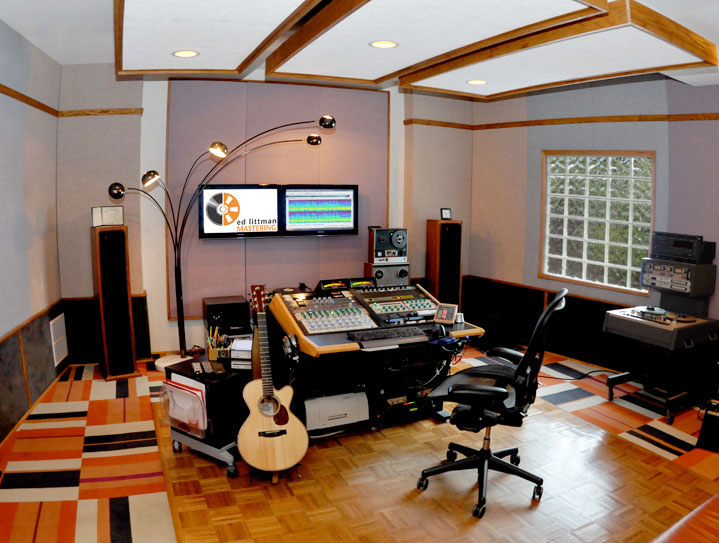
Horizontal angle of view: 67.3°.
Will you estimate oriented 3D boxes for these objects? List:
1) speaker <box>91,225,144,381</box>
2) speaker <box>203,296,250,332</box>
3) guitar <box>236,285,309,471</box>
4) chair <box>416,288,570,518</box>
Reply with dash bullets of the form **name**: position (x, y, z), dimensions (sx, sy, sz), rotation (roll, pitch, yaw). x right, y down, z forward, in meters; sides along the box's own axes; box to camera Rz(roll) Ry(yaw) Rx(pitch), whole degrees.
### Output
- **speaker**: position (-2.689, 0.333, 5.900), dimensions (0.416, 1.642, 0.337), rotation (-7, 17, -26)
- **speaker**: position (-1.580, 0.501, 6.342), dimensions (0.450, 0.313, 0.435), rotation (-2, 4, -26)
- **guitar**: position (-0.676, 1.035, 4.303), dimensions (0.524, 0.865, 0.635), rotation (0, 15, -1)
- **chair**: position (0.999, 0.946, 4.147), dimensions (1.033, 1.471, 1.032), rotation (3, 6, 17)
